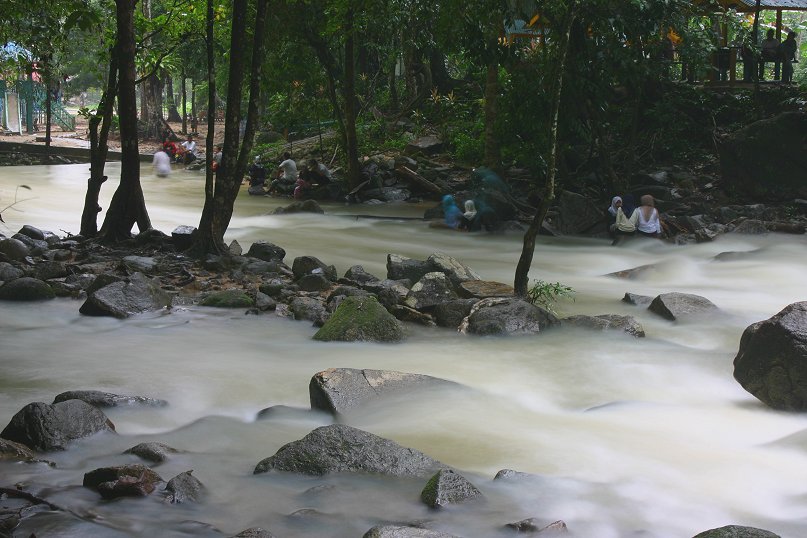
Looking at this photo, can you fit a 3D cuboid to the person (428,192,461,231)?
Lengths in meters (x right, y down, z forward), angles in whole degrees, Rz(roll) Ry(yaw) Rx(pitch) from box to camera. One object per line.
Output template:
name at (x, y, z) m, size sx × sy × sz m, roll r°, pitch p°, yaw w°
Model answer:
person at (1.291, -1.745, 25.126) m, size 0.780 × 0.590 × 1.327 m, roll 14°, pitch 37°, yaw -6°

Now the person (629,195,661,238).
person at (6.679, -1.430, 22.185) m, size 0.797 × 1.191 × 0.688 m, roll 4°, pitch -5°, yaw 22°

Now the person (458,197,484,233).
person at (1.953, -1.594, 24.070) m, size 0.552 × 0.923 × 0.903 m, roll 3°, pitch 5°, yaw -10°

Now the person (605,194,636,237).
person at (6.070, -1.443, 22.593) m, size 0.611 × 1.383 × 0.859 m, roll -13°, pitch 40°, yaw 10°
